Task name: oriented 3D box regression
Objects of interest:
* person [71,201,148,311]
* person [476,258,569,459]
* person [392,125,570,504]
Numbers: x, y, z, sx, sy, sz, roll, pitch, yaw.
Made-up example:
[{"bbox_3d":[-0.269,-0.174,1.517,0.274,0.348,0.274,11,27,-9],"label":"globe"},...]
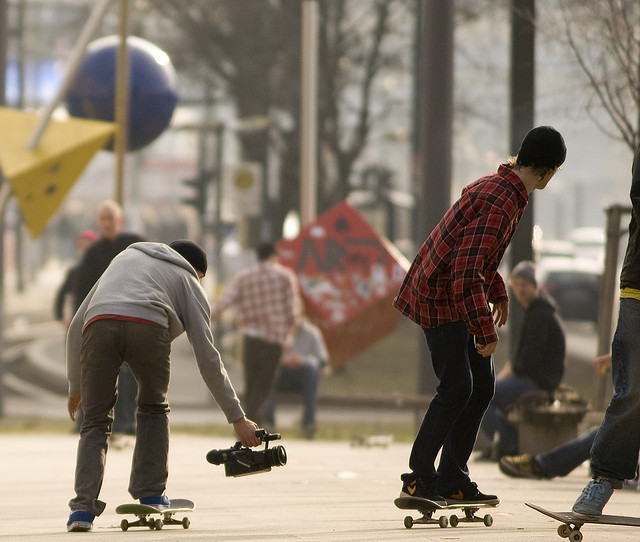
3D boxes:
[{"bbox_3d":[-2.020,-0.156,17.863,0.593,1.596,0.646,2,3,35],"label":"person"},{"bbox_3d":[1.788,0.799,17.108,0.668,1.699,0.729,2,4,-13],"label":"person"},{"bbox_3d":[1.149,0.278,13.575,1.078,2.827,1.143,1,-5,1],"label":"person"}]
